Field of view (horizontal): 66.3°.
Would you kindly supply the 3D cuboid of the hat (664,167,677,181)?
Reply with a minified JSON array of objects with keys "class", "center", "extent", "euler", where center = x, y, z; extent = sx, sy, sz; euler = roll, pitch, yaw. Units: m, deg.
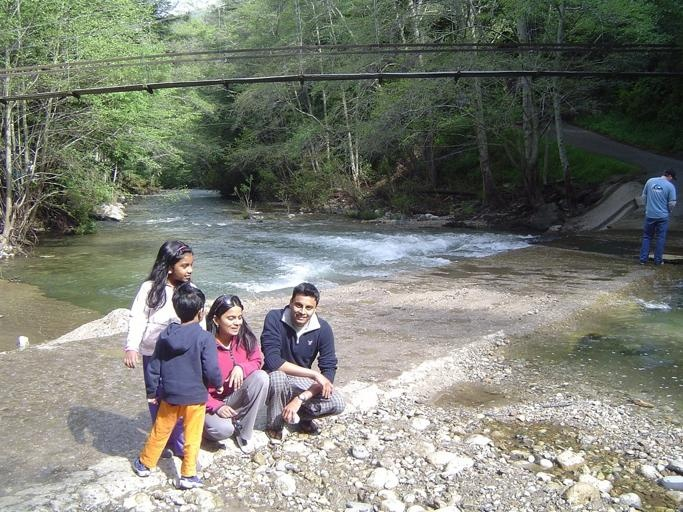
[{"class":"hat","center":[7.226,-1.793,11.485],"extent":[0.214,0.219,0.676],"euler":[6,12,28]}]

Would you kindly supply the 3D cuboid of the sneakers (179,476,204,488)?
[{"class":"sneakers","center":[-1.243,1.871,4.365],"extent":[0.197,0.068,0.090],"euler":[-3,10,-16]}]

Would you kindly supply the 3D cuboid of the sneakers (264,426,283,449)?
[{"class":"sneakers","center":[-0.637,1.739,5.074],"extent":[0.219,0.147,0.065],"euler":[-3,-16,0]}]

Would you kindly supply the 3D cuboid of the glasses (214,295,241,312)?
[{"class":"glasses","center":[-1.012,0.421,4.649],"extent":[0.201,0.186,0.055],"euler":[7,49,-42]}]

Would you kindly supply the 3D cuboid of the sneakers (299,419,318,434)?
[{"class":"sneakers","center":[-0.327,1.692,5.215],"extent":[0.258,0.167,0.101],"euler":[-1,6,-6]}]

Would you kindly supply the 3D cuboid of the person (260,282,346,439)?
[{"class":"person","center":[-0.382,0.999,5.042],"extent":[0.768,1.516,0.558],"euler":[-3,15,-7]}]

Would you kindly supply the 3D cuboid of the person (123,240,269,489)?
[{"class":"person","center":[-1.456,0.914,4.615],"extent":[1.048,1.928,1.017],"euler":[6,16,25]}]

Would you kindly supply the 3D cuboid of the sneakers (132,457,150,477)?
[{"class":"sneakers","center":[-1.719,1.802,4.501],"extent":[0.221,0.073,0.098],"euler":[21,14,40]}]

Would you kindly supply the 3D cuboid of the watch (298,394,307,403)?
[{"class":"watch","center":[-0.364,1.342,4.962],"extent":[0.057,0.088,0.067],"euler":[-2,13,-3]}]

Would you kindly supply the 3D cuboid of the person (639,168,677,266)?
[{"class":"person","center":[7.084,-0.865,11.758],"extent":[0.611,2.150,0.737],"euler":[6,17,25]}]
